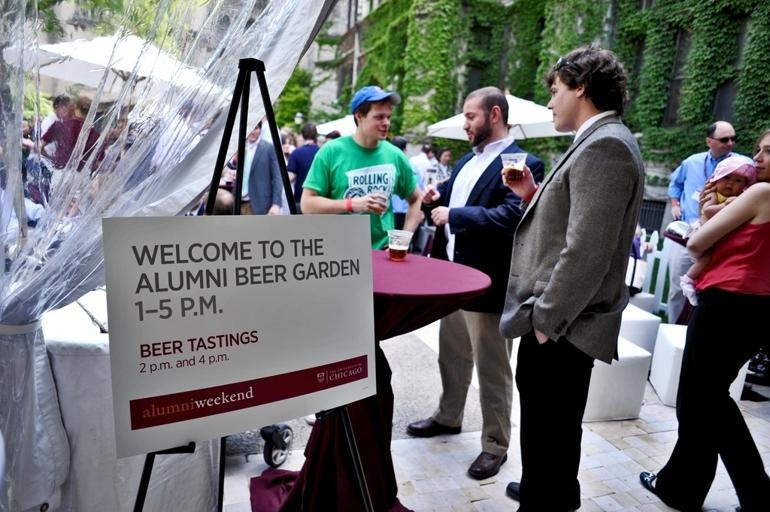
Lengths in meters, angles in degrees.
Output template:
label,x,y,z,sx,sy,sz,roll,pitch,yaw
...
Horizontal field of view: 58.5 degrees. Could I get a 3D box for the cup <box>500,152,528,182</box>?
label,x,y,z,sx,sy,sz,roll,pitch,yaw
cup,0.770,-0.541,4.157,0.151,0.145,0.147,-2,7,0

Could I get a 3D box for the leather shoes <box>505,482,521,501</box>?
label,x,y,z,sx,sy,sz,roll,pitch,yaw
leather shoes,0.792,1.459,4.254,0.085,0.043,0.125,-1,19,19

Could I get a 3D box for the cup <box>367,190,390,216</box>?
label,x,y,z,sx,sy,sz,roll,pitch,yaw
cup,-0.014,-0.356,4.477,0.149,0.165,0.153,-3,10,0

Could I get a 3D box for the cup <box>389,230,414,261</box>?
label,x,y,z,sx,sy,sz,roll,pitch,yaw
cup,0.103,-0.059,4.110,0.155,0.173,0.163,3,7,0

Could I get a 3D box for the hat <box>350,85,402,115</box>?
label,x,y,z,sx,sy,sz,roll,pitch,yaw
hat,-0.092,-1.024,4.658,0.289,0.157,0.203,-20,7,19

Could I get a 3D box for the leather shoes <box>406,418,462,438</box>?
label,x,y,z,sx,sy,sz,roll,pitch,yaw
leather shoes,0.347,1.197,4.884,0.356,0.163,0.149,8,-6,-10

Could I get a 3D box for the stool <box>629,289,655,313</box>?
label,x,y,z,sx,sy,sz,roll,pitch,yaw
stool,2.500,0.448,6.635,0.234,0.198,0.235,17,28,40

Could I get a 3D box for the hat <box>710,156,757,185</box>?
label,x,y,z,sx,sy,sz,roll,pitch,yaw
hat,2.215,-0.547,4.370,0.223,0.129,0.172,-13,-13,28

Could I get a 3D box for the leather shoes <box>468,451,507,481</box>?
label,x,y,z,sx,sy,sz,roll,pitch,yaw
leather shoes,0.650,1.356,4.415,0.116,0.122,0.257,5,1,40

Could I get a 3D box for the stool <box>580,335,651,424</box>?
label,x,y,z,sx,sy,sz,roll,pitch,yaw
stool,1.679,0.917,5.302,0.498,0.520,0.512,4,13,-21
